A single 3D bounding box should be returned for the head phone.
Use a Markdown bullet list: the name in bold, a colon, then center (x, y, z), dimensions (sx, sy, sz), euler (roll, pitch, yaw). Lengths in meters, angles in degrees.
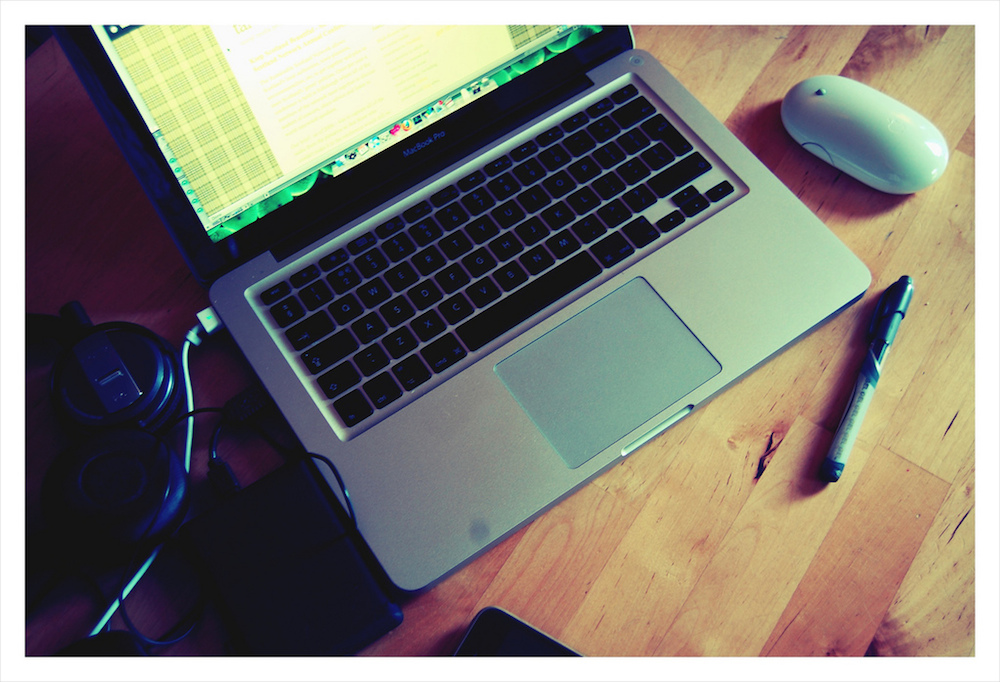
- **head phone**: center (-0.409, 0.096, 0.824), dimensions (0.149, 0.237, 0.054), euler (-10, -6, 0)
